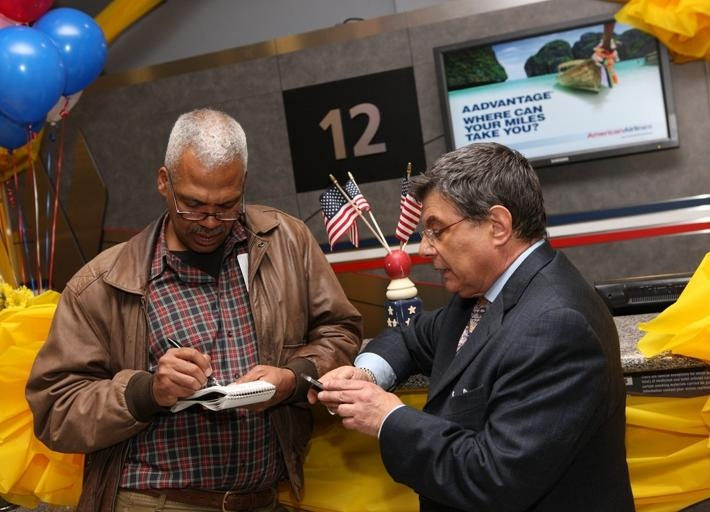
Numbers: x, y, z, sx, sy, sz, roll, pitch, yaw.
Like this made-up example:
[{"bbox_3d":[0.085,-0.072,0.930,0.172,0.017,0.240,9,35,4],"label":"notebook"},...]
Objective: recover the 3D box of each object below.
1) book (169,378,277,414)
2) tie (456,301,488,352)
[{"bbox_3d":[-0.454,0.494,2.039,0.373,0.118,0.159,-7,4,-9],"label":"book"},{"bbox_3d":[0.415,0.229,2.082,0.066,0.258,0.042,19,3,29],"label":"tie"}]
